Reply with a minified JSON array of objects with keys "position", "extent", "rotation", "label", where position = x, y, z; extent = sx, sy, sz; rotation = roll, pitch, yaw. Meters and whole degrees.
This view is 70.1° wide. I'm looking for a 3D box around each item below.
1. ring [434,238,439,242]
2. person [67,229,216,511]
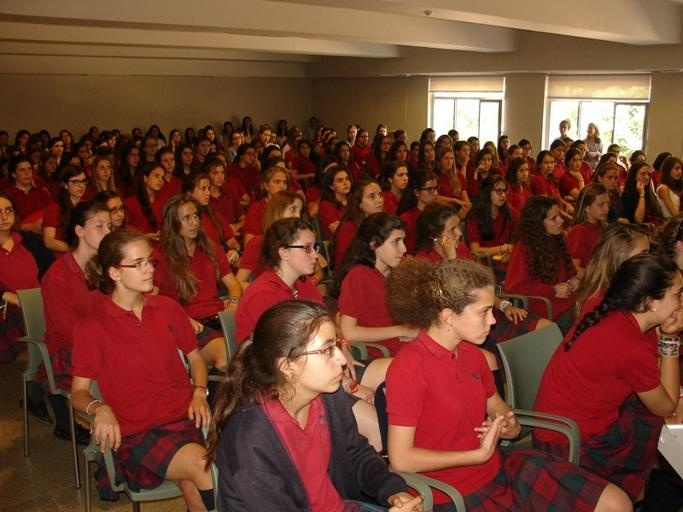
[{"position":[0.716,-0.126,3.666],"extent":[0.023,0.026,0.008],"rotation":[0,-9,-1],"label":"ring"},{"position":[-0.939,0.497,2.268],"extent":[0.612,1.177,0.768],"rotation":[-2,9,-18],"label":"person"}]
